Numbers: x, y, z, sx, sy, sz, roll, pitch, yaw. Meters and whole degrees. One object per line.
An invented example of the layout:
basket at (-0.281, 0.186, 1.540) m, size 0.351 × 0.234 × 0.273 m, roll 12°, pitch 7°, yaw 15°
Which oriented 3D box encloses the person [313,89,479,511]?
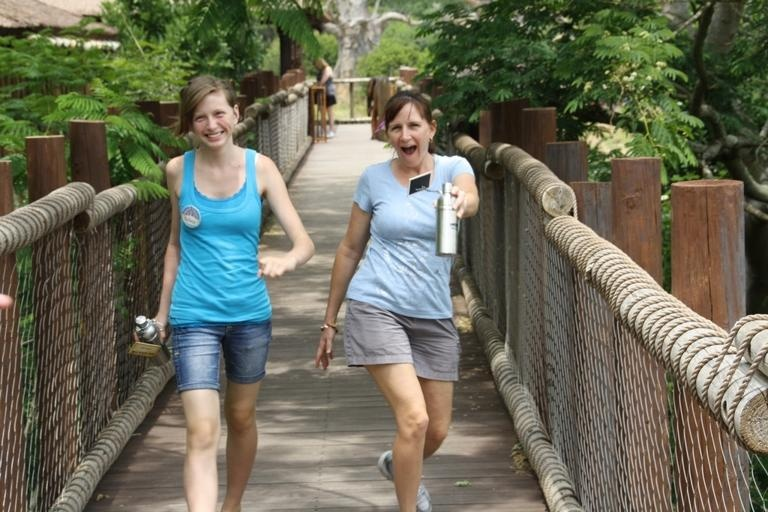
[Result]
person at (0.118, 0.312, 4.296) m, size 0.697 × 2.373 × 0.792 m, roll -11°, pitch 16°, yaw -39°

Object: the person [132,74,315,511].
person at (-0.827, 0.349, 4.044) m, size 0.764 × 2.492 × 0.829 m, roll -5°, pitch 13°, yaw -18°

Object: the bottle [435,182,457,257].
bottle at (0.322, -0.181, 3.965) m, size 0.109 × 0.356 × 0.114 m, roll -1°, pitch 12°, yaw 0°

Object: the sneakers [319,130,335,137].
sneakers at (-1.799, -3.733, 23.972) m, size 0.203 × 0.224 × 0.561 m, roll -2°, pitch -2°, yaw 10°
